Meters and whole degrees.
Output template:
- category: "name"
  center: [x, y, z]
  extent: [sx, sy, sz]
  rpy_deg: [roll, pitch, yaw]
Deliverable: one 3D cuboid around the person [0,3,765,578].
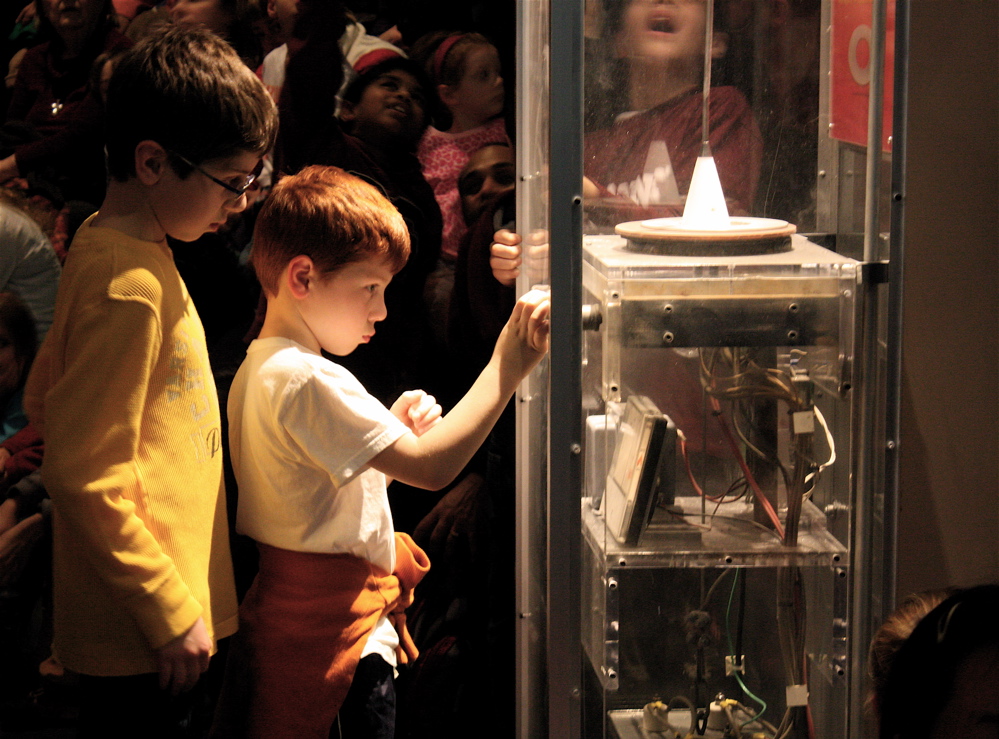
- category: "person"
  center: [-0.239, -0.140, 2.225]
  extent: [1.383, 1.039, 0.665]
  rpy_deg: [2, 2, -1]
